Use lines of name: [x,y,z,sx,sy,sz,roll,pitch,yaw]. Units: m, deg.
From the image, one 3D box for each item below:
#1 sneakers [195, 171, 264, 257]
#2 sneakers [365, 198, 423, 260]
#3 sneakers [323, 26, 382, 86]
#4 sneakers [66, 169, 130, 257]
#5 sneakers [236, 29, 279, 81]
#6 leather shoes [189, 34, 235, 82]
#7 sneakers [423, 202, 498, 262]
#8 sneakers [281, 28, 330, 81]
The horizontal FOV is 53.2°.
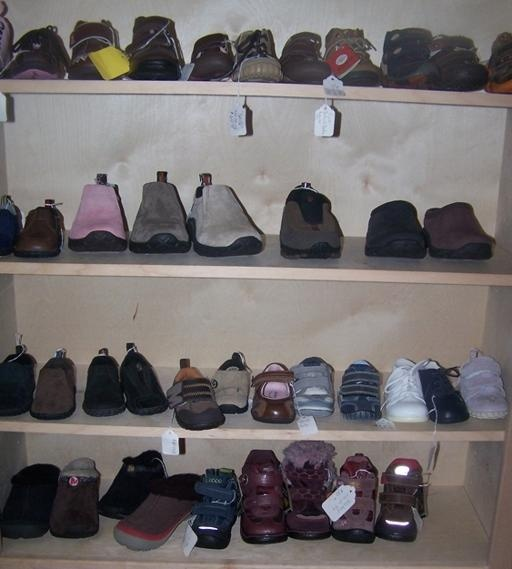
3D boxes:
sneakers: [-0.069,-0.165,1.191,0.110,0.103,0.233,-4,27,-17]
sneakers: [0.348,-0.142,1.264,0.142,0.072,0.234,4,29,14]
sneakers: [0.197,-0.557,1.194,0.175,0.077,0.064,-7,8,-7]
sneakers: [-0.364,-0.168,1.212,0.094,0.105,0.261,-1,15,-7]
sneakers: [-0.001,-0.503,1.136,0.068,0.083,0.191,-1,11,-2]
leather shoes: [-0.097,-0.493,1.115,0.100,0.108,0.114,-2,8,-6]
sneakers: [0.473,-0.127,1.185,0.110,0.083,0.194,0,13,1]
sneakers: [0.101,-0.499,1.109,0.065,0.082,0.190,0,17,-4]
